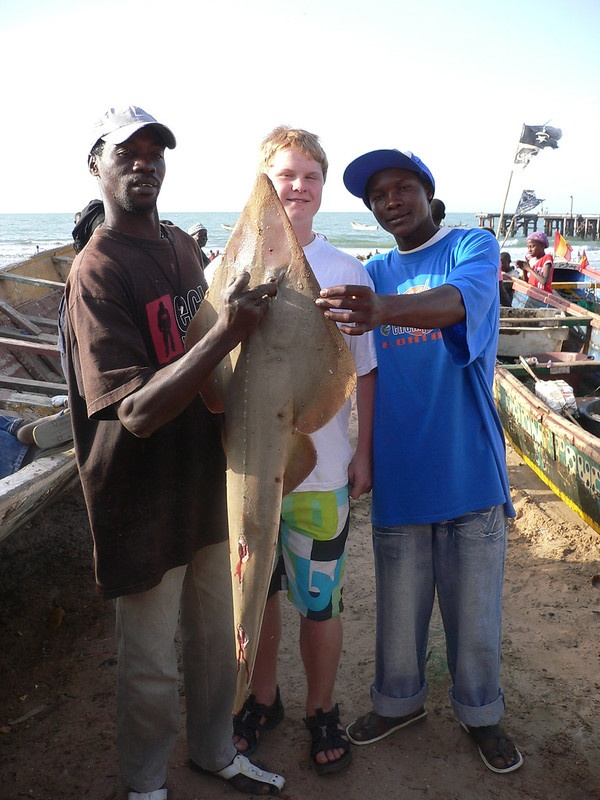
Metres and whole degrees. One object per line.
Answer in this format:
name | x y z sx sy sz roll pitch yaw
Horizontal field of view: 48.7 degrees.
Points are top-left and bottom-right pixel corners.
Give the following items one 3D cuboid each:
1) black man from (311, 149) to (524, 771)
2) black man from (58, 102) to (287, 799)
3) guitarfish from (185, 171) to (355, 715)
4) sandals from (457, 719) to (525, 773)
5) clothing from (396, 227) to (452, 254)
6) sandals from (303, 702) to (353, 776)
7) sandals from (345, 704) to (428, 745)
black man | 0.386 0.219 2.556 0.914 2.338 0.950 0 0 40
black man | -0.641 0.255 2.426 1.004 2.381 0.889 1 2 18
guitarfish | -0.079 0.142 2.060 0.423 1.632 0.303 -8 15 -27
sandals | 0.783 1.412 2.710 0.107 0.094 0.270 -13 26 -18
clothing | 0.483 -0.639 2.531 0.140 0.037 0.120 -29 -2 32
sandals | 0.108 1.400 2.797 0.176 0.173 0.474 -9 2 -7
sandals | 0.394 1.404 2.880 0.355 0.124 0.119 -9 15 -7
